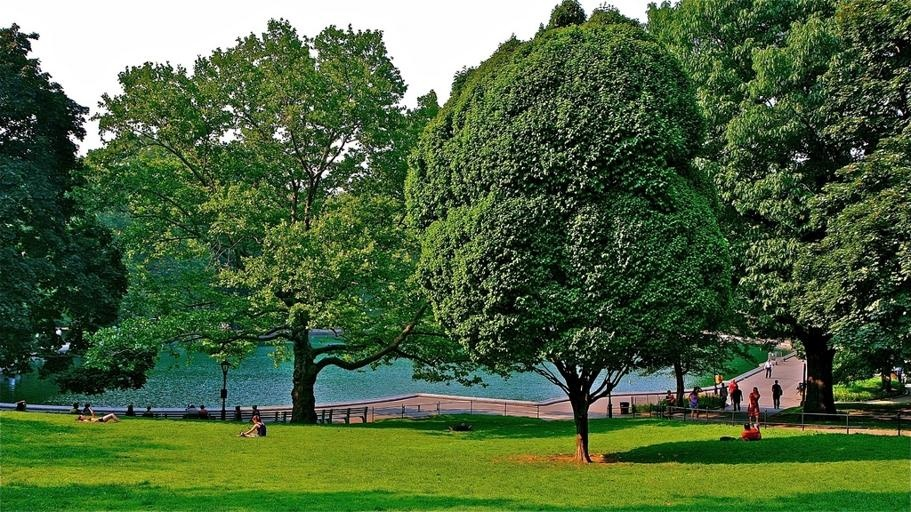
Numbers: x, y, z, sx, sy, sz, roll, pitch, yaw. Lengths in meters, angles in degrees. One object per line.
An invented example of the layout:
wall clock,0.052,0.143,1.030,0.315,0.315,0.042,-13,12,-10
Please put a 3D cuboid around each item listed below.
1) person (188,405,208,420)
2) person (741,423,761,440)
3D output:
person,-17.547,10.472,82.971,1.257,0.826,1.739,-1,1,-29
person,18.126,10.667,74.548,0.834,0.827,1.260,2,1,43
